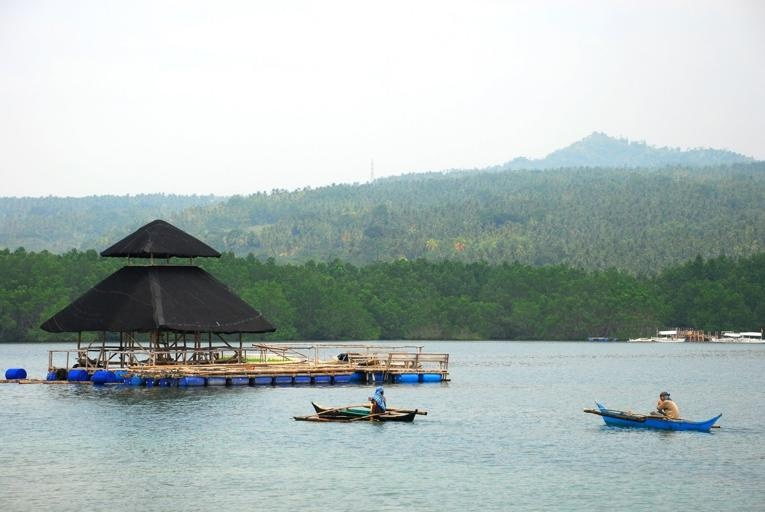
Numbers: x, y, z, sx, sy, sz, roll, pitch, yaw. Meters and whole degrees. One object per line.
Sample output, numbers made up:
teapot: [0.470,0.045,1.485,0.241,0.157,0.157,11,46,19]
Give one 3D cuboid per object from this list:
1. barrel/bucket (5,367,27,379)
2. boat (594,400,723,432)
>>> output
barrel/bucket: [-37.401,11.998,115.182,1.598,1.343,1.395,2,24,-38]
boat: [22.271,13.068,96.732,12.692,2.676,3.706,1,-10,18]
